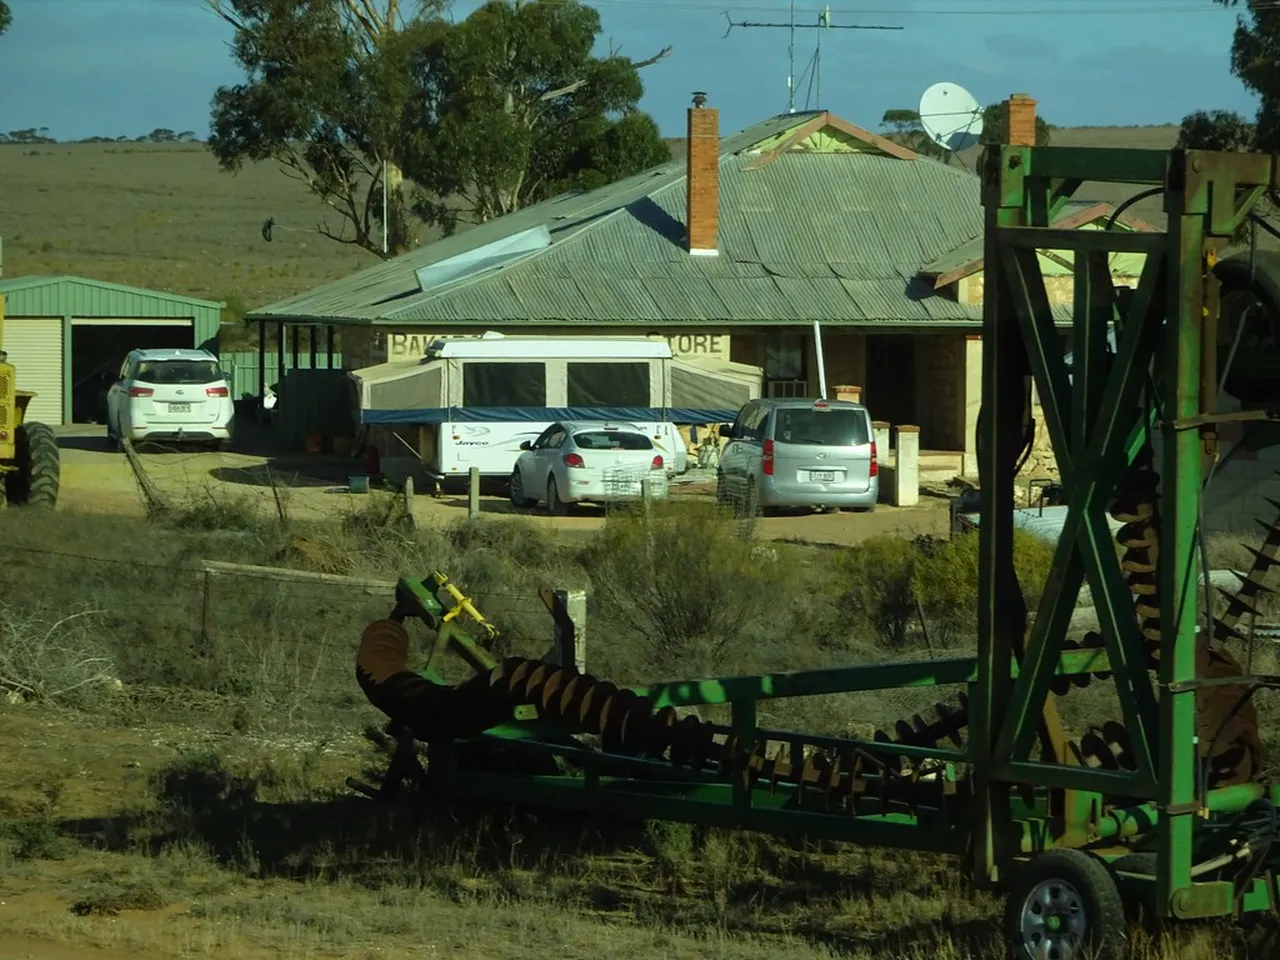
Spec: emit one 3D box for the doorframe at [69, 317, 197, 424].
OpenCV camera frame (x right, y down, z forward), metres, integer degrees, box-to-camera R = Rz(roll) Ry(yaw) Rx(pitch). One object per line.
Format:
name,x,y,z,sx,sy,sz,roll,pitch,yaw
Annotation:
doorframe,-13.089,-3.007,55.666,4.078,2.907,2.168,-1,4,-44

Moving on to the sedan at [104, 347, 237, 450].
sedan,-8.357,-1.288,37.307,1.694,1.733,3.194,-1,5,-13

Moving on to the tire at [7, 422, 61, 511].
tire,-7.882,-0.133,26.976,0.310,1.160,1.024,3,-2,-21

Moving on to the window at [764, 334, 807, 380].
window,2.676,-2.275,38.252,0.671,0.873,0.099,-5,8,-24

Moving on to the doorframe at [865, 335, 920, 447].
doorframe,5.174,-2.128,42.364,1.092,2.307,0.228,-2,43,6
